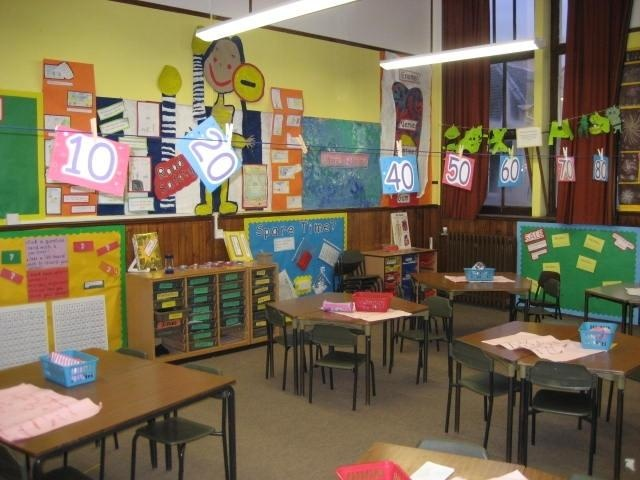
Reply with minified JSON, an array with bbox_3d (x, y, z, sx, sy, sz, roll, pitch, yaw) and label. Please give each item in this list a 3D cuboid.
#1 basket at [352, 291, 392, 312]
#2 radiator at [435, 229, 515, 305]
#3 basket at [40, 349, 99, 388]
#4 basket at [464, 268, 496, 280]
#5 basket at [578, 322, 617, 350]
[{"bbox_3d":[0.576,0.683,5.921,0.319,0.119,0.230,-1,3,7],"label":"basket"},{"bbox_3d":[2.545,0.420,8.512,1.221,1.160,0.242,5,7,39],"label":"radiator"},{"bbox_3d":[-1.971,0.985,4.217,0.517,0.183,0.383,8,13,42],"label":"basket"},{"bbox_3d":[2.138,0.457,7.127,0.272,0.121,0.187,1,1,10],"label":"basket"},{"bbox_3d":[2.501,0.828,4.787,0.290,0.222,0.373,4,11,27],"label":"basket"}]
